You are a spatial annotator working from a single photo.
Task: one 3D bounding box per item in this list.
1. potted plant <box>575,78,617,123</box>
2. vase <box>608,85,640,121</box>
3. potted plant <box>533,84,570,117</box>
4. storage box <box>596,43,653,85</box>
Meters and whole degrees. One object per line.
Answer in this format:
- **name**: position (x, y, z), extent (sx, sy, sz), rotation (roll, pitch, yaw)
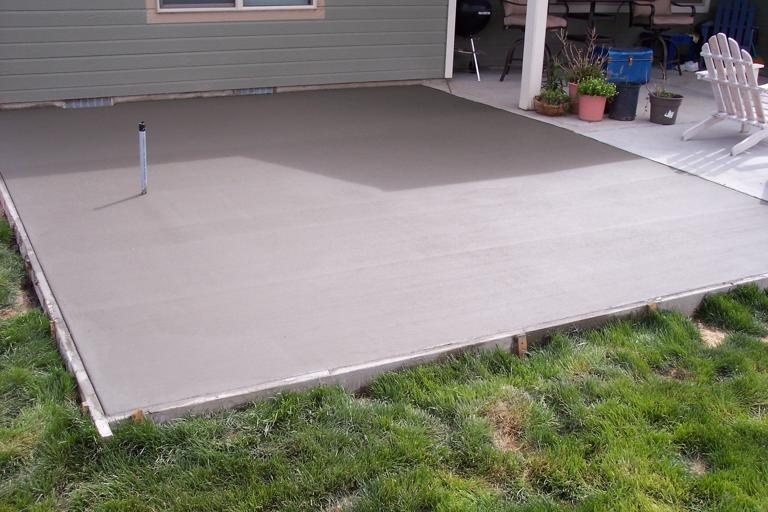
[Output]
- **potted plant**: position (2.921, -2.178, 7.929), extent (0.529, 0.508, 0.527), rotation (-3, 20, -2)
- **vase**: position (3.399, -2.156, 8.032), extent (0.503, 0.479, 0.499), rotation (-7, 12, -13)
- **potted plant**: position (2.409, -2.222, 8.053), extent (0.456, 0.380, 0.441), rotation (-9, 28, -20)
- **storage box**: position (3.691, -2.948, 8.844), extent (0.954, 0.636, 0.733), rotation (-4, 25, -13)
